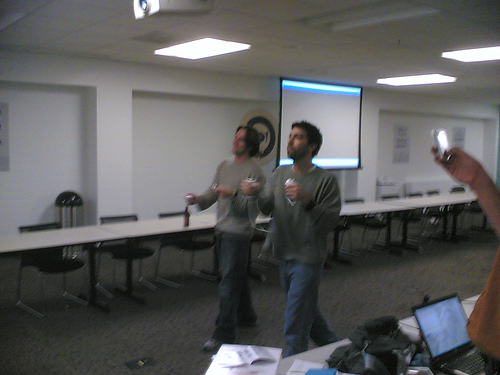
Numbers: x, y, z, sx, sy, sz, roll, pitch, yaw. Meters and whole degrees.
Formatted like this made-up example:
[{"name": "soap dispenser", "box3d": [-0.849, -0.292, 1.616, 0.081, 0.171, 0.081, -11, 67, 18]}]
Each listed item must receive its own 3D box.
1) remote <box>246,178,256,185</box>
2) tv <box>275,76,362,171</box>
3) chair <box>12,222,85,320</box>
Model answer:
[{"name": "remote", "box3d": [0.004, -0.027, 1.473, 0.040, 0.017, 0.062, -3, 11, 1]}, {"name": "tv", "box3d": [0.314, -0.287, 1.602, 0.549, 0.480, 0.074, 2, -6, -18]}, {"name": "chair", "box3d": [-1.597, 0.601, 2.850, 0.381, 0.560, 0.415, -10, -23, 14]}]
